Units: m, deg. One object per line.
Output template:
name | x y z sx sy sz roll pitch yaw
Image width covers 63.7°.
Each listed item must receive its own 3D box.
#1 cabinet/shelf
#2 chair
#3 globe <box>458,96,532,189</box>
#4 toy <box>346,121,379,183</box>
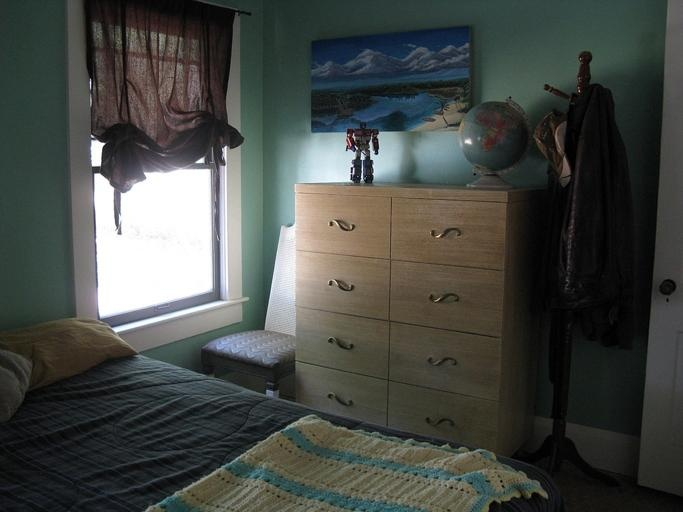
cabinet/shelf | 0.381 0.322 3.103 1.220 1.386 0.652 5 10 33
chair | -0.456 0.392 3.392 0.582 1.116 0.575 12 13 36
globe | 0.764 -0.581 2.895 0.301 0.476 0.344 12 13 26
toy | 0.140 -0.620 3.297 0.173 0.395 0.159 10 14 35
